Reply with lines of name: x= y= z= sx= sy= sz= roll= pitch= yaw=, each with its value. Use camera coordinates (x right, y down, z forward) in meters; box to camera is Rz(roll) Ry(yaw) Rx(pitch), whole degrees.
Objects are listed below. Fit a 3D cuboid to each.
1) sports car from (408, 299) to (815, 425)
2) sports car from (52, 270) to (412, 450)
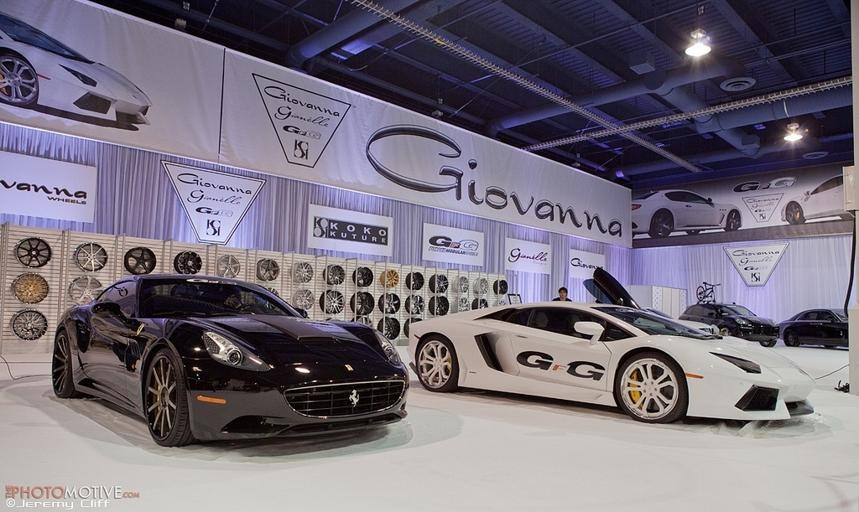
sports car: x=2.039 y=1.276 z=5.919 sx=3.748 sy=0.950 sz=2.061 roll=-3 pitch=-8 yaw=35
sports car: x=-2.327 y=1.040 z=4.686 sx=3.156 sy=0.910 sz=1.739 roll=-6 pitch=-12 yaw=41
